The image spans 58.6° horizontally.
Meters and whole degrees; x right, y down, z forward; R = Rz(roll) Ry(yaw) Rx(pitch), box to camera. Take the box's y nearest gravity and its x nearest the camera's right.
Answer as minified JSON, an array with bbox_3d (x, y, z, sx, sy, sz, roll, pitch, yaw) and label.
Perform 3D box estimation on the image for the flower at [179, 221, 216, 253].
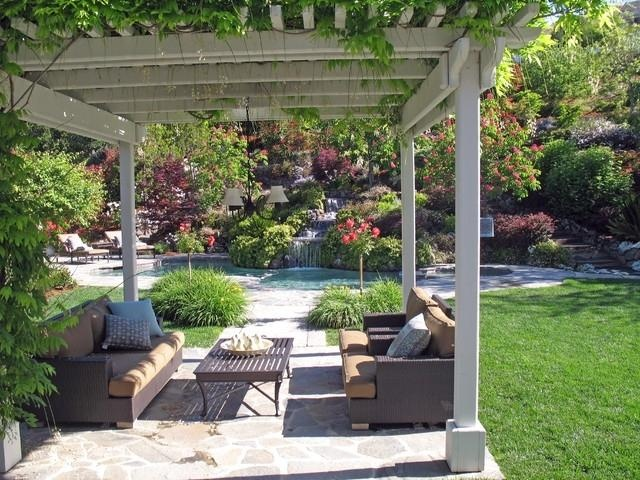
[{"bbox_3d":[-4.256,-0.043,19.669,1.037,0.900,1.138,1,-5,-6],"label":"flower"}]
